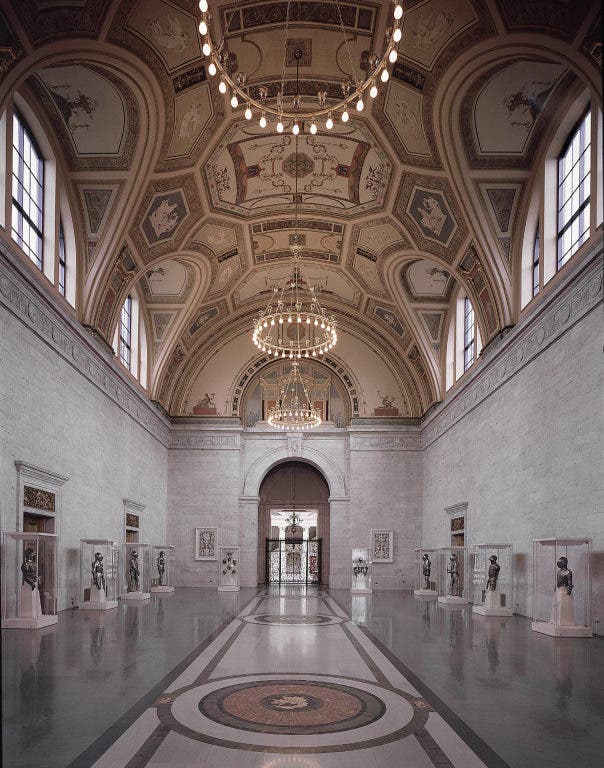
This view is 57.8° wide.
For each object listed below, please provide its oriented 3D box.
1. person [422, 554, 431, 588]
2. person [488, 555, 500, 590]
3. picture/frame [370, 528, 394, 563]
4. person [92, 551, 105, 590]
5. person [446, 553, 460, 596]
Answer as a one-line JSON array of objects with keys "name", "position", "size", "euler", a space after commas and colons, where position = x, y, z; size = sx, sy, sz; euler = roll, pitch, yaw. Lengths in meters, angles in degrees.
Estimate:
[{"name": "person", "position": [4.719, 7.037, 20.536], "size": [0.286, 1.235, 0.603], "euler": [-1, -13, 12]}, {"name": "person", "position": [4.899, 4.831, 13.967], "size": [0.273, 0.860, 0.593], "euler": [-3, -14, 19]}, {"name": "picture/frame", "position": [3.522, 7.122, 23.993], "size": [1.076, 1.924, 0.171], "euler": [0, -7, 0]}, {"name": "person", "position": [-5.307, 4.896, 14.293], "size": [0.214, 0.905, 0.513], "euler": [0, -13, 8]}, {"name": "person", "position": [5.053, 6.320, 18.075], "size": [0.380, 1.231, 0.474], "euler": [-2, -13, 17]}]
